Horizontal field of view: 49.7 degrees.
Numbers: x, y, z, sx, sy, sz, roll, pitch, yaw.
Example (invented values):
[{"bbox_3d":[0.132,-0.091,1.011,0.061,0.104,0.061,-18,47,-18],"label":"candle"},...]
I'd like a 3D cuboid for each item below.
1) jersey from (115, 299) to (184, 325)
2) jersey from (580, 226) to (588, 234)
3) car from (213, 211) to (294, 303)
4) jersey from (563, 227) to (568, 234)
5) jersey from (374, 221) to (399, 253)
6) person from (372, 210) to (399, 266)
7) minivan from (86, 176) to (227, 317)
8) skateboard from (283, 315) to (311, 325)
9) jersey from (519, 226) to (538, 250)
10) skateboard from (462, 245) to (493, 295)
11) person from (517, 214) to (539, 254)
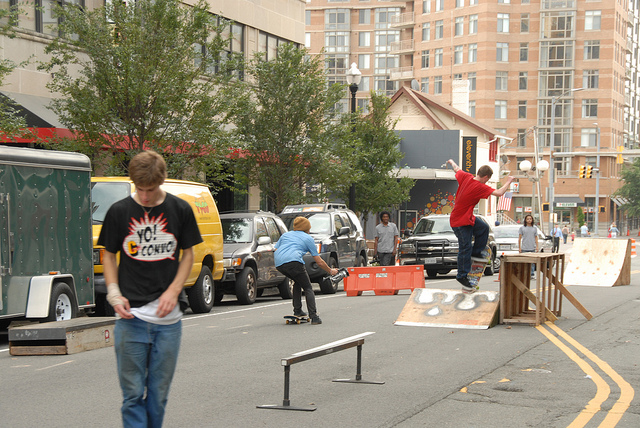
[{"bbox_3d":[-1.562,0.923,6.563,0.401,0.186,0.306,-2,-2,-2],"label":"jersey"},{"bbox_3d":[27.549,1.591,72.119,0.824,0.806,0.429,2,6,21],"label":"jersey"},{"bbox_3d":[-2.447,1.162,19.451,2.466,2.572,4.612,-2,-2,18],"label":"car"},{"bbox_3d":[23.306,1.569,65.636,0.493,0.709,0.435,4,8,15],"label":"jersey"},{"bbox_3d":[2.216,0.762,23.023,0.817,1.015,0.376,0,0,7],"label":"jersey"},{"bbox_3d":[2.186,0.798,23.225,0.858,1.800,0.950,0,0,6],"label":"person"},{"bbox_3d":[-3.202,0.444,17.918,5.644,3.079,2.823,3,14,34],"label":"minivan"},{"bbox_3d":[-0.430,2.174,14.200,0.196,0.109,0.669,-4,-10,33],"label":"skateboard"},{"bbox_3d":[6.728,0.759,22.316,0.507,0.757,0.453,-1,0,15],"label":"jersey"},{"bbox_3d":[3.110,0.970,13.555,0.336,1.339,0.215,4,41,-5],"label":"skateboard"},{"bbox_3d":[6.719,0.586,22.300,0.580,1.185,1.401,-1,0,17],"label":"person"}]
